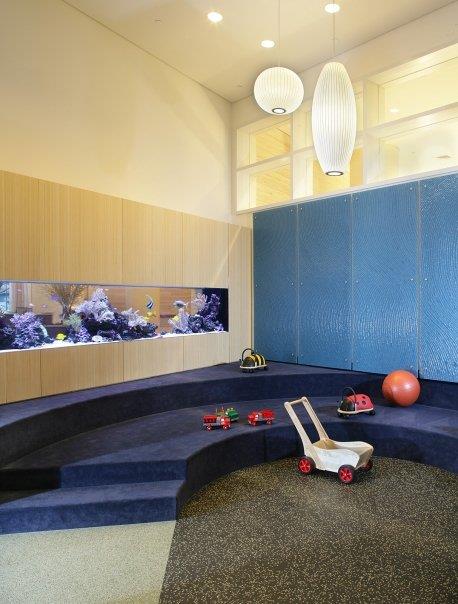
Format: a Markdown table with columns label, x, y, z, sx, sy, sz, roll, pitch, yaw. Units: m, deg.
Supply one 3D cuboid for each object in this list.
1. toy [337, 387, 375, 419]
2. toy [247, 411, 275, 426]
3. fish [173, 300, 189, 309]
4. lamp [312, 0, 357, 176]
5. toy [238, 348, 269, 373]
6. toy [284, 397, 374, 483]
| label | x | y | z | sx | sy | sz | roll | pitch | yaw |
| --- | --- | --- | --- | --- | --- | --- | --- | --- | --- |
| toy | 1.199 | 0.953 | 3.995 | 0.476 | 0.362 | 0.277 | 6 | -11 | -25 |
| toy | 0.280 | 1.003 | 3.619 | 0.184 | 0.099 | 0.108 | 2 | -8 | -12 |
| fish | -0.592 | 0.030 | 5.170 | 0.011 | 0.106 | 0.246 | 2 | 5 | 36 |
| lamp | 0.805 | -1.431 | 3.211 | 0.316 | 0.836 | 0.270 | 0 | 4 | 12 |
| toy | 0.293 | 0.724 | 5.094 | 0.227 | 0.338 | 0.427 | -5 | -6 | 30 |
| toy | 0.739 | 1.056 | 3.363 | 0.741 | 0.661 | 0.441 | -5 | -5 | 36 |
